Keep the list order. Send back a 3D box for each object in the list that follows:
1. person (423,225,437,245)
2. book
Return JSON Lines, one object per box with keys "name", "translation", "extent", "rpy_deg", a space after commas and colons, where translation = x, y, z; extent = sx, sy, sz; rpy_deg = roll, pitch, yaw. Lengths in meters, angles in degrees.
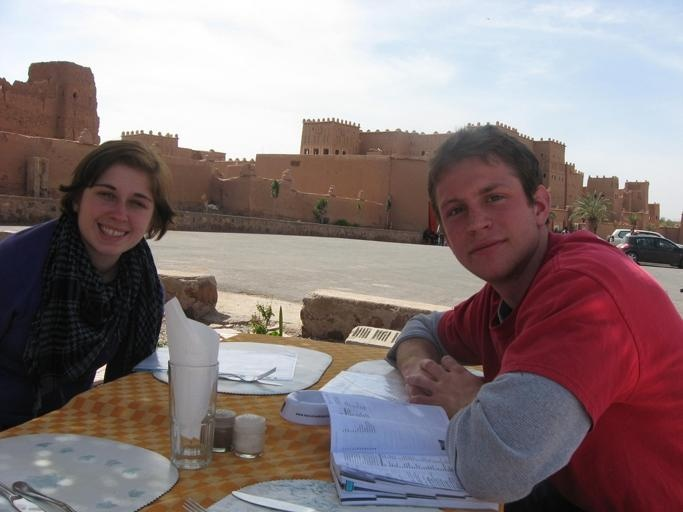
{"name": "person", "translation": [5.541, -1.298, 35.622], "extent": [0.883, 1.722, 0.975], "rpy_deg": [1, 8, 14]}
{"name": "book", "translation": [0.129, 0.450, 1.332], "extent": [0.237, 0.069, 0.248], "rpy_deg": [8, 18, -13]}
